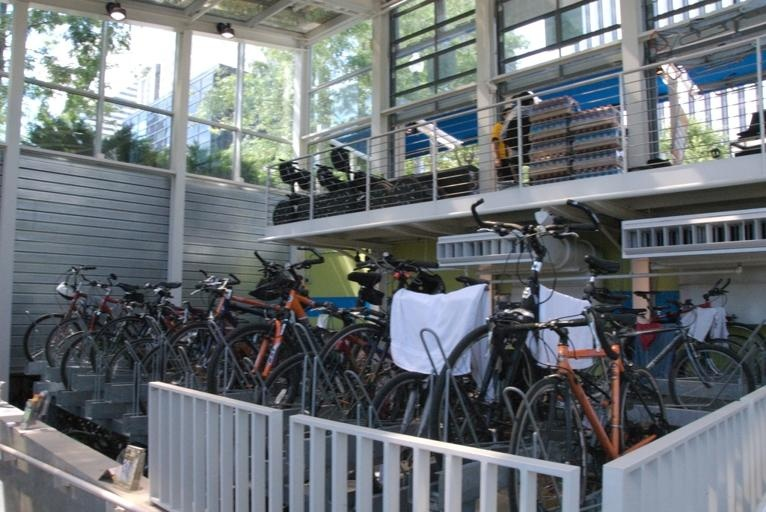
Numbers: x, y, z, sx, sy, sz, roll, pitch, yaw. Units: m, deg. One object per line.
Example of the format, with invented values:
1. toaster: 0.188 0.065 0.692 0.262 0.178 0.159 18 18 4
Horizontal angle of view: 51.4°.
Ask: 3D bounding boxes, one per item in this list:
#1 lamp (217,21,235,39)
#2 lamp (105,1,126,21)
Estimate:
1. lamp: -2.712 -3.935 13.781 0.311 0.357 0.506 0 1 -11
2. lamp: -4.181 -3.867 12.513 0.295 0.310 0.537 0 0 -17
